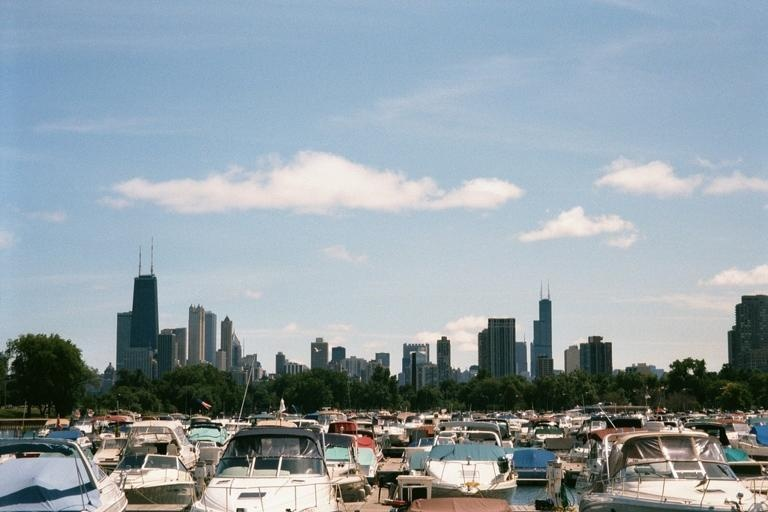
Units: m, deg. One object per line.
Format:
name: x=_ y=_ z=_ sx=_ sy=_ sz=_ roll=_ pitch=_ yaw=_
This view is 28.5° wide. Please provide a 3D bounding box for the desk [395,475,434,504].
desk: x=3.109 y=24.943 z=161.954 sx=3.025 sy=2.755 sz=2.781 roll=1 pitch=-14 yaw=-6
